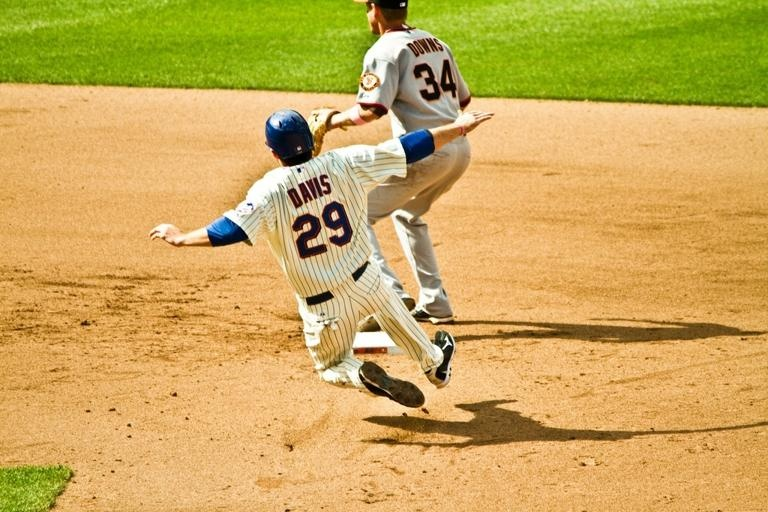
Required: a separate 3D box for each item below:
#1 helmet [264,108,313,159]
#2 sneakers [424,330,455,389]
[{"bbox_3d":[-0.850,-1.064,11.705,0.350,0.356,0.442,-21,22,-16],"label":"helmet"},{"bbox_3d":[0.525,0.915,12.272,0.213,0.271,0.558,-31,40,41],"label":"sneakers"}]
